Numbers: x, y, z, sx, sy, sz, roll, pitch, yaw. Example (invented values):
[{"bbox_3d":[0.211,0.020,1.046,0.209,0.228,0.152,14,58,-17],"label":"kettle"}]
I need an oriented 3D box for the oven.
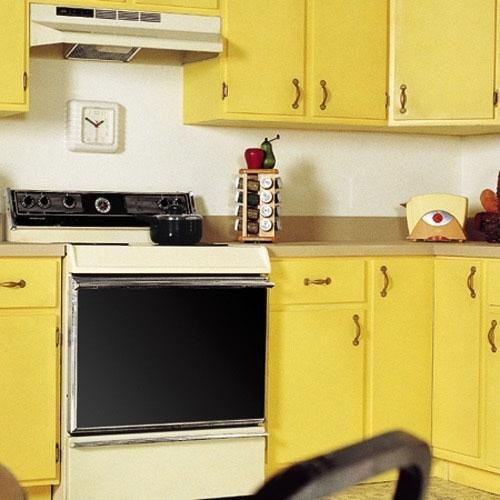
[{"bbox_3d":[-0.288,0.323,2.308,0.762,0.538,0.482,2,-5,-19],"label":"oven"}]

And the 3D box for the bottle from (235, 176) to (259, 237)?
[{"bbox_3d":[-0.015,-0.170,2.566,0.089,0.241,0.091,0,5,0],"label":"bottle"}]

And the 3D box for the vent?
[{"bbox_3d":[-0.455,-0.789,2.481,0.684,0.140,0.346,-1,5,-15],"label":"vent"}]

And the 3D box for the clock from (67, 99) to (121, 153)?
[{"bbox_3d":[-0.626,-0.496,2.677,0.239,0.200,0.074,-4,10,-41],"label":"clock"}]

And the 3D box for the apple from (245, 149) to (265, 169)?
[{"bbox_3d":[0.017,-0.359,2.622,0.085,0.071,0.087,1,7,12],"label":"apple"}]

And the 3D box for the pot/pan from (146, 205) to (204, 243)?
[{"bbox_3d":[-0.271,-0.073,2.388,0.192,0.107,0.106,1,5,2],"label":"pot/pan"}]

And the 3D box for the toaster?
[{"bbox_3d":[0.837,-0.134,2.865,0.293,0.196,0.188,0,-2,39],"label":"toaster"}]
